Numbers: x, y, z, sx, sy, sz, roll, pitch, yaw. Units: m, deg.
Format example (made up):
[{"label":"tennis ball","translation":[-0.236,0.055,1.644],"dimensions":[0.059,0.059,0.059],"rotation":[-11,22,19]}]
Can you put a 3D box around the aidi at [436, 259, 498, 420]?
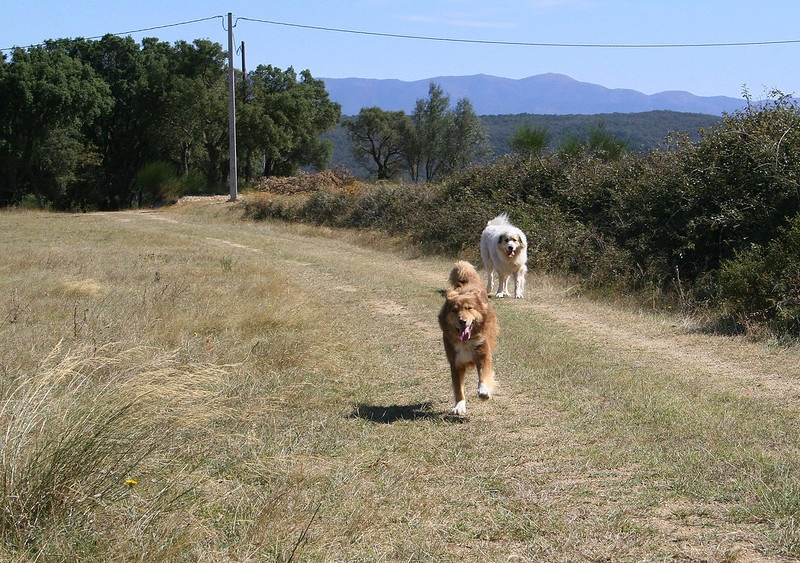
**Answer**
[{"label":"aidi","translation":[1.030,0.911,12.276],"dimensions":[0.664,1.827,3.174],"rotation":[-3,-3,8]}]
